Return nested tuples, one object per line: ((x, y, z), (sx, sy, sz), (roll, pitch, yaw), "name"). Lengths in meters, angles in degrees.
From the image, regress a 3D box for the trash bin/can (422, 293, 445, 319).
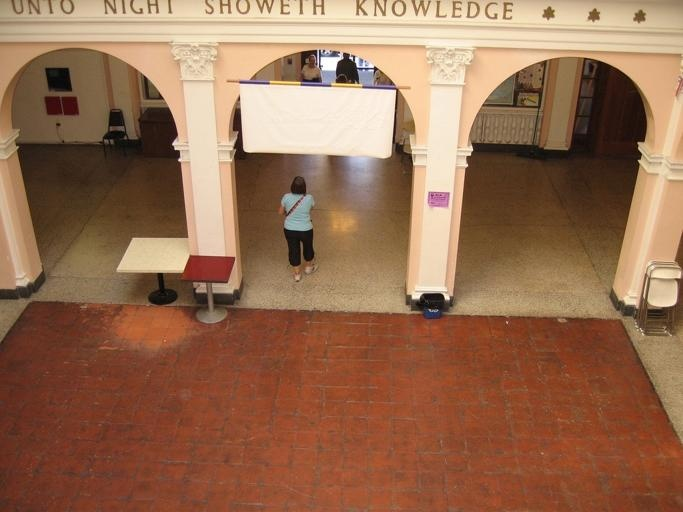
((1.427, 0.812, 8.491), (0.403, 0.368, 0.302), (-1, 32, -2), "trash bin/can")

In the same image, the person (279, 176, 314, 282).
((-0.750, -0.547, 9.233), (0.547, 1.826, 0.745), (-4, 25, -4), "person")

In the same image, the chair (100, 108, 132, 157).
((-5.803, -3.192, 13.644), (0.658, 1.017, 0.953), (-12, 27, -20), "chair")

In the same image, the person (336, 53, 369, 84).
((0.130, -4.621, 13.264), (0.513, 0.632, 1.726), (-2, 26, -2), "person")

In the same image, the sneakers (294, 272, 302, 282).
((-0.762, 0.360, 9.305), (0.072, 0.084, 0.199), (1, 26, -1), "sneakers")

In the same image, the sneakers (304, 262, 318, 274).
((-0.537, 0.175, 9.522), (0.131, 0.116, 0.278), (15, 46, 20), "sneakers")
